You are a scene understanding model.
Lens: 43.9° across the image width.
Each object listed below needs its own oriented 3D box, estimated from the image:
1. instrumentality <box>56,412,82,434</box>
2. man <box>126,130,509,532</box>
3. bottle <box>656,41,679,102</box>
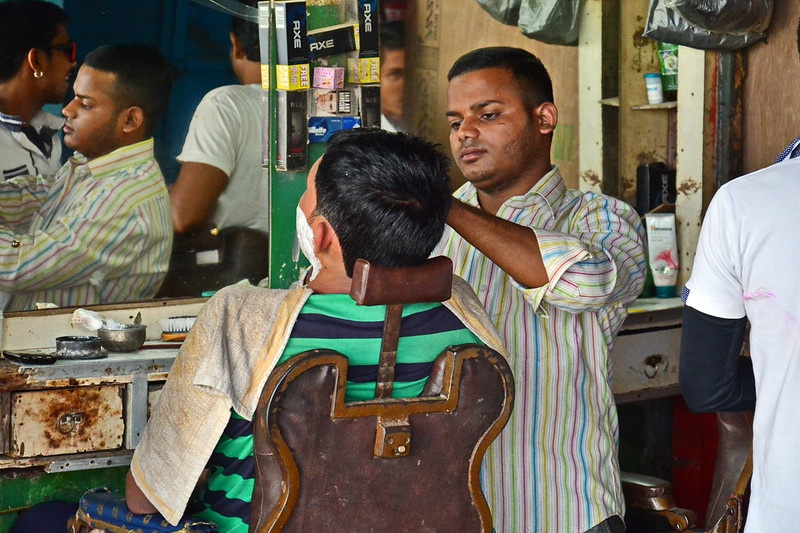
[{"bbox_3d":[-1.080,0.511,3.252,0.081,0.065,0.012,-4,7,-24],"label":"instrumentality"},{"bbox_3d":[-0.241,0.208,2.879,0.910,1.385,0.541,7,24,-17],"label":"man"},{"bbox_3d":[1.133,-0.827,4.209,0.077,0.234,0.126,1,7,14],"label":"bottle"}]
